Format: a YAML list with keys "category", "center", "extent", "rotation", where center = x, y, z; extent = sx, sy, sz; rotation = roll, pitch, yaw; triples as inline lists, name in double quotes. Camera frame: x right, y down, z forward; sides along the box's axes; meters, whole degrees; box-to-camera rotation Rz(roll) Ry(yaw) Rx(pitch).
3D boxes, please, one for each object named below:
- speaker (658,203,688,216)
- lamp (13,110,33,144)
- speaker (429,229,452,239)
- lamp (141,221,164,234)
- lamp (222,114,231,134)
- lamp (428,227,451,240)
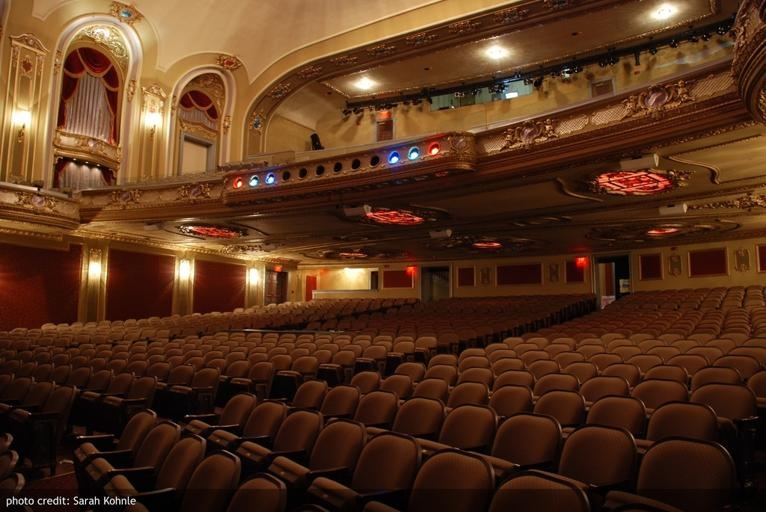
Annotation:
- category: "speaker"
  center: [6.901, -1.098, 12.639]
  extent: [0.506, 0.183, 0.484]
  rotation: [-1, 3, 24]
- category: "lamp"
  center: [-10.815, -3.890, 15.743]
  extent: [0.466, 1.069, 0.137]
  rotation: [11, -14, -40]
- category: "speaker"
  center: [1.631, -0.670, 15.131]
  extent: [0.542, 0.247, 0.522]
  rotation: [-1, -10, 15]
- category: "lamp"
  center: [-7.236, -0.908, 16.494]
  extent: [0.535, 0.107, 0.506]
  rotation: [1, -8, -37]
- category: "lamp"
  center: [-6.020, -5.043, 20.162]
  extent: [0.376, 0.670, 0.172]
  rotation: [-2, -12, 18]
- category: "lamp"
  center: [1.766, -0.635, 15.221]
  extent: [0.665, 0.279, 0.275]
  rotation: [-7, 14, 32]
